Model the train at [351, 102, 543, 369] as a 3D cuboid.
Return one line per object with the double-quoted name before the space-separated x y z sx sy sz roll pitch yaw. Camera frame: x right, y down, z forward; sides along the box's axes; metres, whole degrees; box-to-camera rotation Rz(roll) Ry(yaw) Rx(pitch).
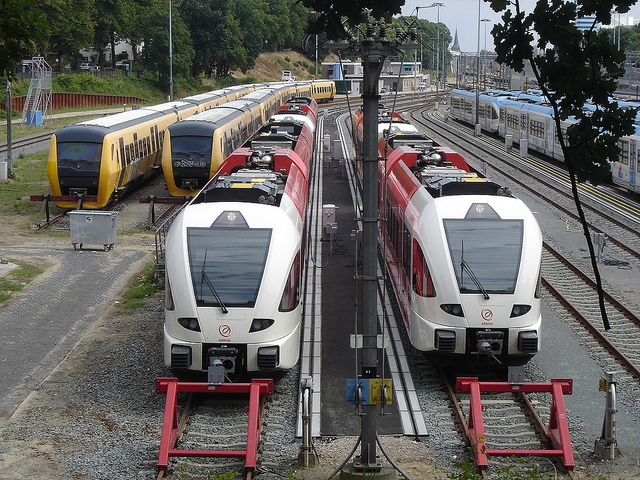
"train" 3.755 -1.853 18.596 3.094 4.786 17.319 -1 22 -1
